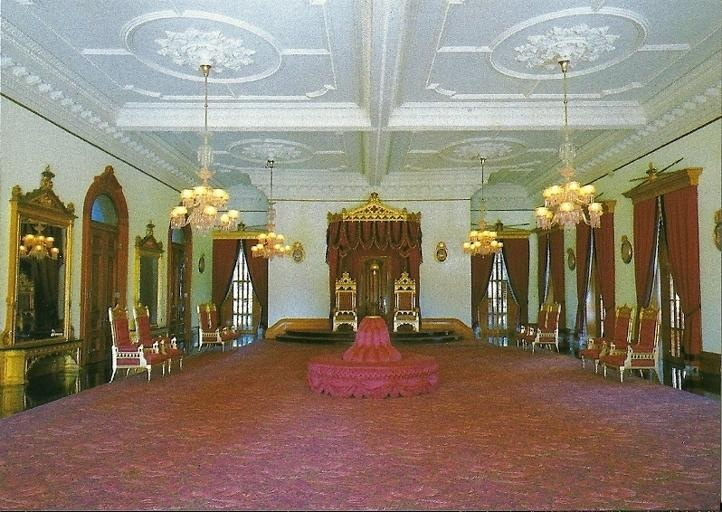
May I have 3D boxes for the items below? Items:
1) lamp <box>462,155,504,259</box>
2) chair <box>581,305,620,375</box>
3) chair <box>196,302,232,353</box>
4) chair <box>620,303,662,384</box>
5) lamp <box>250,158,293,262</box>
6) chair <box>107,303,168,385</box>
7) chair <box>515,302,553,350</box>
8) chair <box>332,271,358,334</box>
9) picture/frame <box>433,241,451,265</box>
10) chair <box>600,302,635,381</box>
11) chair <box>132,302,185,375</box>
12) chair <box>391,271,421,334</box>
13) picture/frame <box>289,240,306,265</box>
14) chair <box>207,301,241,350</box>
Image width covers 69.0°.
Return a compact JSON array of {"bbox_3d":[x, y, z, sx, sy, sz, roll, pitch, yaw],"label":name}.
[{"bbox_3d":[3.077,-1.280,13.260,0.906,2.598,0.957,1,0,-10],"label":"lamp"},{"bbox_3d":[4.633,1.570,9.907,0.708,1.133,0.787,4,-1,19],"label":"chair"},{"bbox_3d":[-3.505,1.696,12.792,0.728,1.080,0.846,-1,-1,24],"label":"chair"},{"bbox_3d":[4.774,1.465,9.233,0.658,1.230,0.766,3,-1,0],"label":"chair"},{"bbox_3d":[-2.311,-1.243,13.586,0.922,2.591,0.985,-2,-5,-1],"label":"lamp"},{"bbox_3d":[-3.978,1.518,9.437,0.923,1.235,0.988,-5,-4,44],"label":"chair"},{"bbox_3d":[4.338,1.691,12.841,0.561,1.217,1.580,3,-4,4],"label":"chair"},{"bbox_3d":[-0.445,1.260,14.555,0.675,1.535,0.641,0,2,-2],"label":"chair"},{"bbox_3d":[2.360,-0.108,15.459,0.388,0.600,0.104,-1,2,-12],"label":"picture/frame"},{"bbox_3d":[4.646,1.549,9.503,0.627,1.160,0.671,-1,12,36],"label":"chair"},{"bbox_3d":[-3.955,1.570,10.012,0.824,1.151,0.829,5,9,-20],"label":"chair"},{"bbox_3d":[1.258,1.262,14.463,0.669,1.519,0.588,0,2,8],"label":"chair"},{"bbox_3d":[-1.891,-0.071,15.467,0.439,0.695,0.180,-2,-3,-3],"label":"picture/frame"},{"bbox_3d":[-3.515,1.691,12.894,0.539,0.924,0.663,9,0,-6],"label":"chair"}]
